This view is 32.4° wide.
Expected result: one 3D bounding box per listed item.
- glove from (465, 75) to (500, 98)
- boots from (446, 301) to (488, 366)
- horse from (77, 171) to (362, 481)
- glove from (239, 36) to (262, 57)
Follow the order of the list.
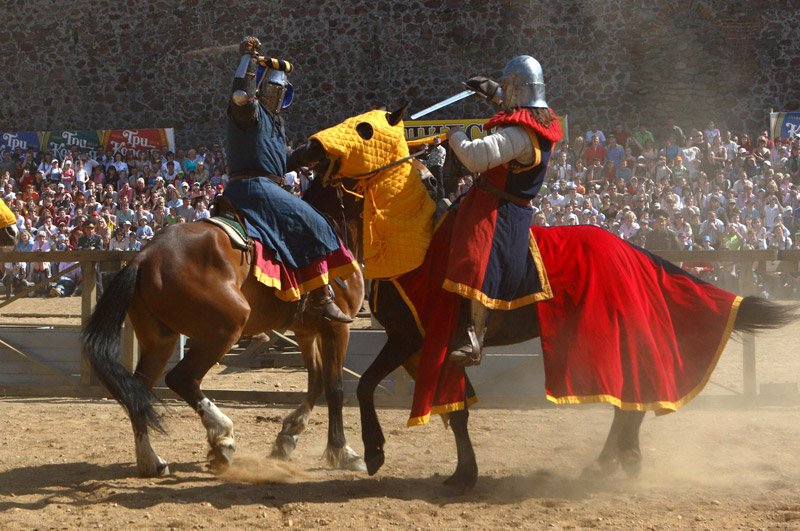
[{"bbox_3d":[1.207,-2.626,20.201,0.461,0.174,0.290,9,13,-12],"label":"glove"},{"bbox_3d":[0.989,0.966,20.020,0.511,0.923,0.306,1,9,6],"label":"boots"},{"bbox_3d":[-2.154,0.863,21.603,6.214,4.662,1.935,-2,-2,-40],"label":"horse"},{"bbox_3d":[-2.299,-3.282,20.640,0.427,0.329,0.298,1,-6,6],"label":"glove"}]
